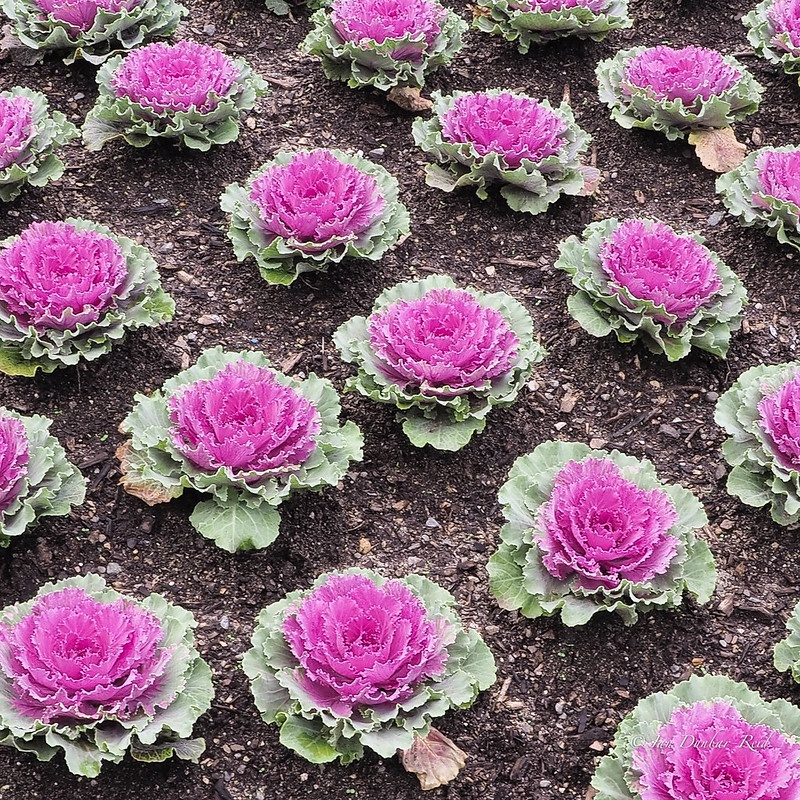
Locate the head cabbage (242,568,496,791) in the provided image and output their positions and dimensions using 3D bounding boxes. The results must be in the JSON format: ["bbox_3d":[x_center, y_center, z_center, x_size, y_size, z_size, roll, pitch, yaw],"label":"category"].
[{"bbox_3d":[-0.109,0.949,3.046,0.898,0.583,0.723,18,56,7],"label":"head cabbage"}]

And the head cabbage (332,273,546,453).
[{"bbox_3d":[0.169,-0.131,3.886,0.967,0.387,0.768,0,57,-1],"label":"head cabbage"}]

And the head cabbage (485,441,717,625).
[{"bbox_3d":[0.763,0.527,3.457,0.863,0.565,0.799,-3,56,-8],"label":"head cabbage"}]

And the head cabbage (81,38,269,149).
[{"bbox_3d":[-1.265,-1.609,4.714,0.915,0.886,0.333,-22,96,-54],"label":"head cabbage"}]

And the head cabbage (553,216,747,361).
[{"bbox_3d":[1.132,-0.540,4.245,0.835,0.370,0.800,-1,31,-29],"label":"head cabbage"}]

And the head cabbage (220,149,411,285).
[{"bbox_3d":[-0.373,-0.929,4.226,0.887,0.339,0.745,-6,47,-23],"label":"head cabbage"}]

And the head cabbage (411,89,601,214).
[{"bbox_3d":[0.555,-1.361,4.593,0.874,0.365,0.821,3,34,-2],"label":"head cabbage"}]
